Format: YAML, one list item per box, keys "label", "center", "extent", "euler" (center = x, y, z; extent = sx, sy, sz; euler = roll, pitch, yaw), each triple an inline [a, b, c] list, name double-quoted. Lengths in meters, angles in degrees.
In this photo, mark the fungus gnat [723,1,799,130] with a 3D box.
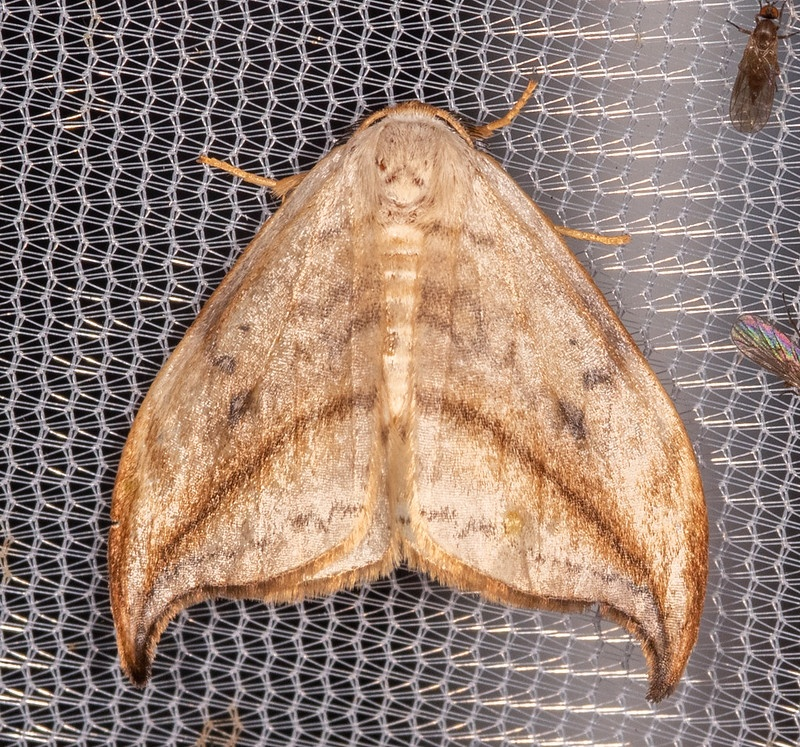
- label: "fungus gnat"
  center: [0.765, -0.630, 3.191]
  extent: [0.194, 0.075, 0.234]
  euler: [12, 93, 17]
